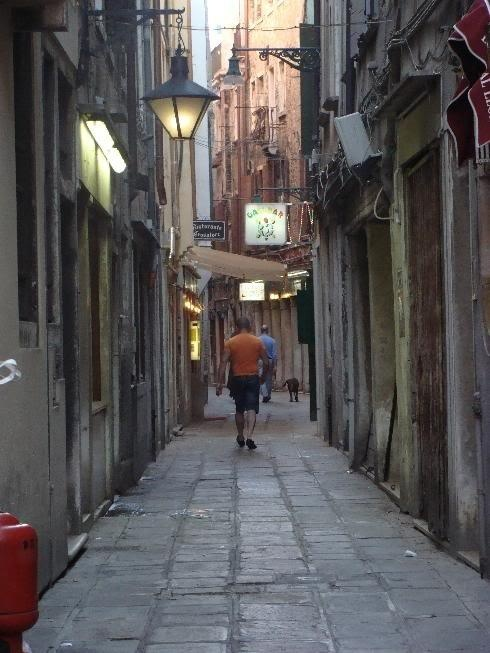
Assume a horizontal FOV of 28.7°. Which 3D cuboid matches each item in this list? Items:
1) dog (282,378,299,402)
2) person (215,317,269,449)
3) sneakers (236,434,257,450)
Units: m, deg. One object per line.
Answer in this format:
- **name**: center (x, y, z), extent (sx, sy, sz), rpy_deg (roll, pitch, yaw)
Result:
- **dog**: center (1.307, 1.777, 26.269), extent (0.279, 0.470, 0.697), rpy_deg (0, -9, 2)
- **person**: center (0.012, 0.822, 13.740), extent (0.493, 1.957, 0.571), rpy_deg (-3, -4, 43)
- **sneakers**: center (0.036, 1.623, 13.188), extent (0.105, 0.182, 0.371), rpy_deg (2, -15, -8)
